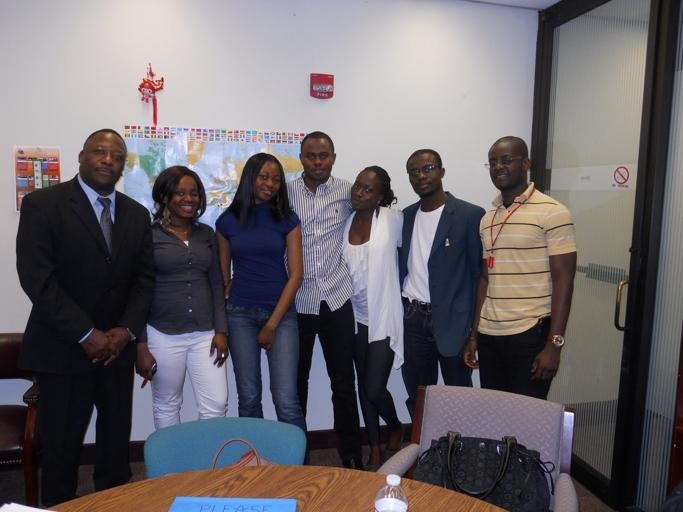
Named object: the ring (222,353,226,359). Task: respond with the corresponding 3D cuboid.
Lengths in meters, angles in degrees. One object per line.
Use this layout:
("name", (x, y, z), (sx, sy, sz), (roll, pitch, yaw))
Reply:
("ring", (-0.761, 0.647, 3.487), (0.024, 0.027, 0.018), (2, -10, -12))

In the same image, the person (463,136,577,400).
("person", (1.122, 0.218, 3.424), (0.621, 1.324, 0.394), (7, 14, 27))

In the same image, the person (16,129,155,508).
("person", (-1.505, 0.394, 3.248), (0.788, 2.240, 0.397), (-8, 15, -31))

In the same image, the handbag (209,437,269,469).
("handbag", (-0.466, 0.910, 2.467), (0.218, 0.092, 0.205), (-3, 49, 2))

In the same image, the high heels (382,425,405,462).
("high heels", (0.400, 1.420, 4.146), (0.073, 0.333, 0.110), (1, 8, -43))
